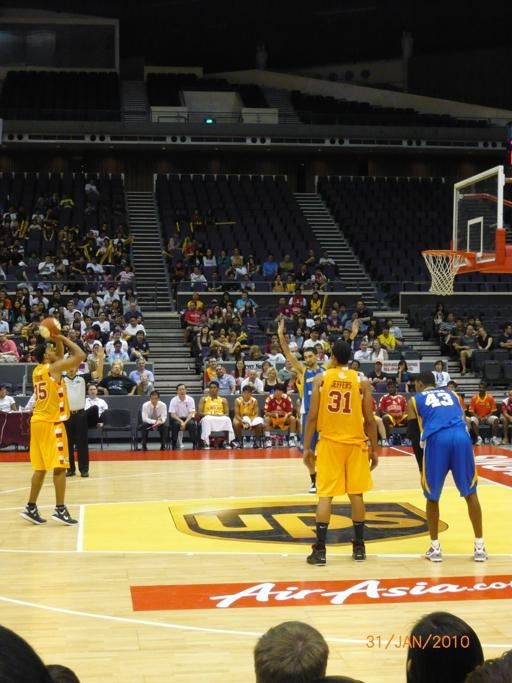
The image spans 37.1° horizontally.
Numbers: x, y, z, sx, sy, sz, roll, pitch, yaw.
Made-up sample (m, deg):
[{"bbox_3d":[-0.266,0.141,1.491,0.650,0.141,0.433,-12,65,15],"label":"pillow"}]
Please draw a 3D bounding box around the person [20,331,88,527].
[{"bbox_3d":[-1.683,0.707,6.282,0.562,1.425,0.836,-3,-1,-14],"label":"person"}]

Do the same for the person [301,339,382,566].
[{"bbox_3d":[0.560,0.731,5.089,0.548,1.438,0.392,-3,0,-3],"label":"person"}]

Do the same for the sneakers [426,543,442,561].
[{"bbox_3d":[1.174,1.381,5.023,0.109,0.123,0.133,-4,-1,10],"label":"sneakers"}]

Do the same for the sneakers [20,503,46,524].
[{"bbox_3d":[-1.814,1.407,6.233,0.095,0.142,0.288,15,-7,33],"label":"sneakers"}]

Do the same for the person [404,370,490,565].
[{"bbox_3d":[1.293,0.842,5.133,0.471,1.255,0.450,-4,0,10],"label":"person"}]

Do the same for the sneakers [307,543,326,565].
[{"bbox_3d":[0.393,1.369,4.955,0.128,0.135,0.127,-3,-1,3],"label":"sneakers"}]

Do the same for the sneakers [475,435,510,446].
[{"bbox_3d":[3.769,1.606,12.057,0.570,0.228,0.190,-3,2,6],"label":"sneakers"}]

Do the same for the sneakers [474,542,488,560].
[{"bbox_3d":[1.486,1.382,5.043,0.063,0.104,0.171,-1,1,11],"label":"sneakers"}]
